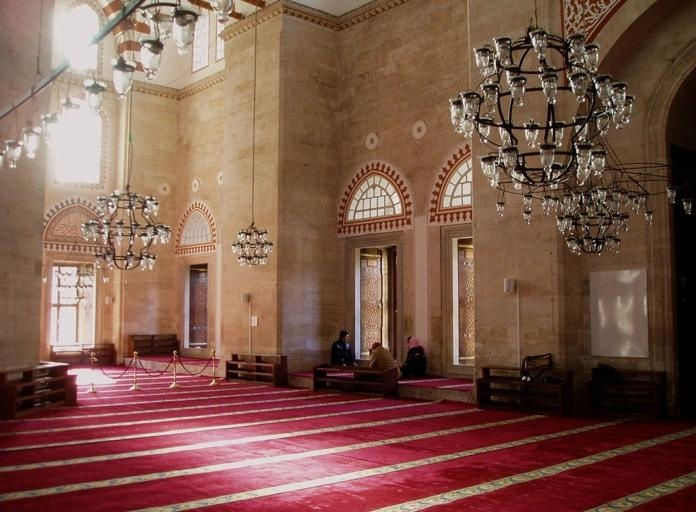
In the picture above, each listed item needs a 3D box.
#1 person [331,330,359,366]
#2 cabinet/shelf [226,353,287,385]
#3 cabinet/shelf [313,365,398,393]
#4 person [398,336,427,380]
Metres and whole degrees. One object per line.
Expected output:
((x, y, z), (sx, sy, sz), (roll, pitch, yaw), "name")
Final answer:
((-0.094, 2.325, 14.020), (0.589, 0.892, 0.708), (2, -4, -11), "person")
((-2.381, 2.922, 14.693), (2.039, 0.730, 0.558), (-4, -6, 39), "cabinet/shelf")
((0.174, 2.734, 12.571), (0.892, 0.634, 1.939), (4, -6, -44), "cabinet/shelf")
((1.565, 2.400, 13.425), (0.551, 0.899, 0.783), (-2, -5, 17), "person")
